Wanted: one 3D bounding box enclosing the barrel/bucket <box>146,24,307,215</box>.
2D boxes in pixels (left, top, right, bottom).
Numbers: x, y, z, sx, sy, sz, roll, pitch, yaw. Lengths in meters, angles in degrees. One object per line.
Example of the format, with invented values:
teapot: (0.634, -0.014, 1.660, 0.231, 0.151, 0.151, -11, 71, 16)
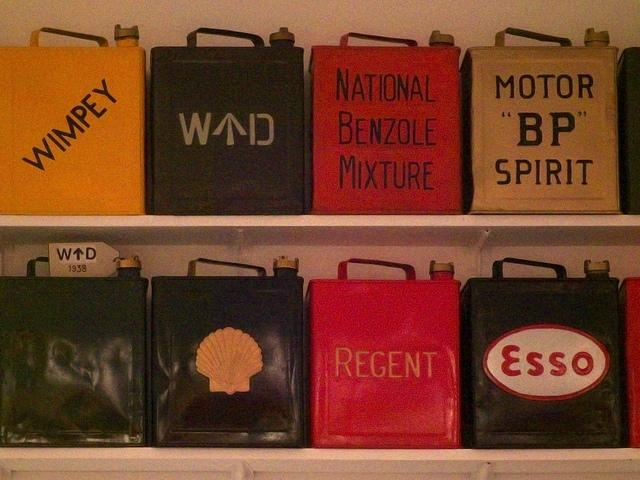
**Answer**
barrel/bucket: (-0.186, -0.284, 2.561, 0.541, 0.704, 0.368, 0, 0, 3)
